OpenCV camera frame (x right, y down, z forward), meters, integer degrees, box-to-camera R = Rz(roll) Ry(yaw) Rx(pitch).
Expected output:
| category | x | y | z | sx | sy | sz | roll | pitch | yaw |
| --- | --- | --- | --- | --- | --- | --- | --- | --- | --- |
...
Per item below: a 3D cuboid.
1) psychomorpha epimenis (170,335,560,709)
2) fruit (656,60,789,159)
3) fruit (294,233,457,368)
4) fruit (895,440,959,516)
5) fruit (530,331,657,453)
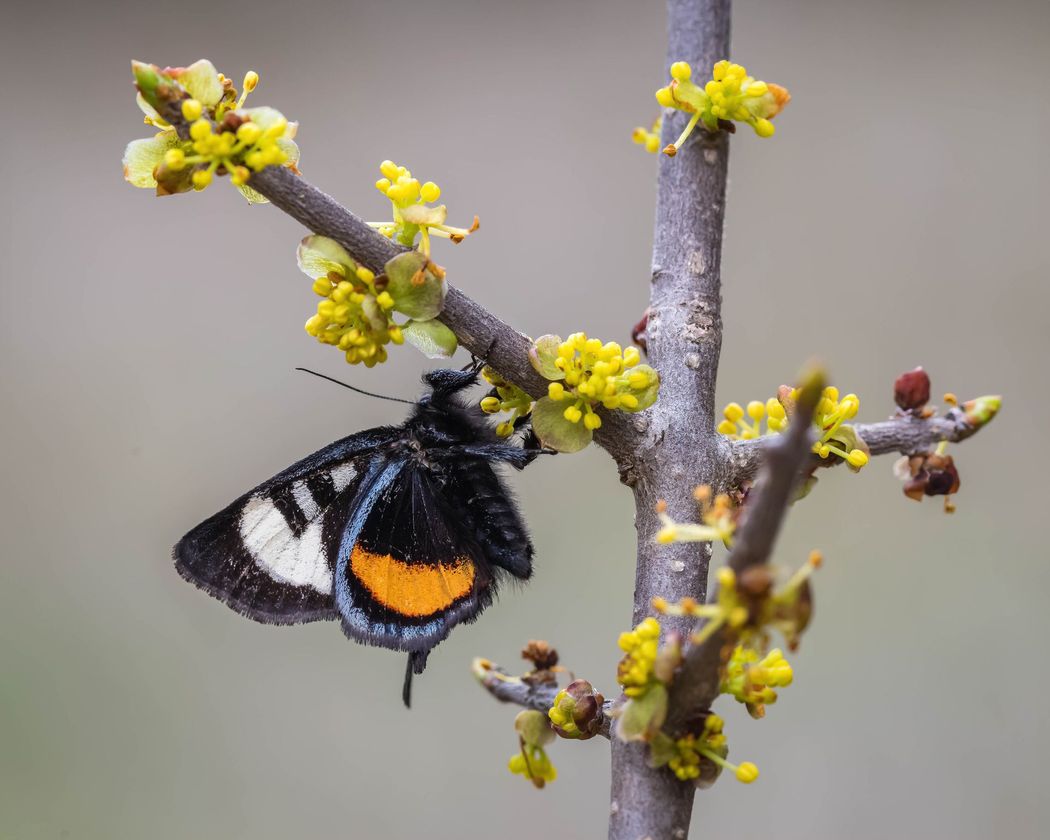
| category | x | y | z | sx | sy | sz | roll | pitch | yaw |
| --- | --- | --- | --- | --- | --- | --- | --- | --- | --- |
| psychomorpha epimenis | -0.165 | 0.067 | 1.266 | 0.290 | 0.358 | 0.309 | 45 | -82 | 18 |
| fruit | 0.144 | -0.233 | 0.919 | 0.078 | 0.038 | 0.078 | 14 | -69 | -15 |
| fruit | -0.109 | -0.080 | 0.858 | 0.104 | 0.058 | 0.097 | 3 | -39 | 18 |
| fruit | 0.330 | 0.040 | 0.981 | 0.050 | 0.076 | 0.033 | -14 | -65 | 11 |
| fruit | 0.045 | -0.019 | 0.864 | 0.090 | 0.060 | 0.068 | 9 | -37 | 9 |
